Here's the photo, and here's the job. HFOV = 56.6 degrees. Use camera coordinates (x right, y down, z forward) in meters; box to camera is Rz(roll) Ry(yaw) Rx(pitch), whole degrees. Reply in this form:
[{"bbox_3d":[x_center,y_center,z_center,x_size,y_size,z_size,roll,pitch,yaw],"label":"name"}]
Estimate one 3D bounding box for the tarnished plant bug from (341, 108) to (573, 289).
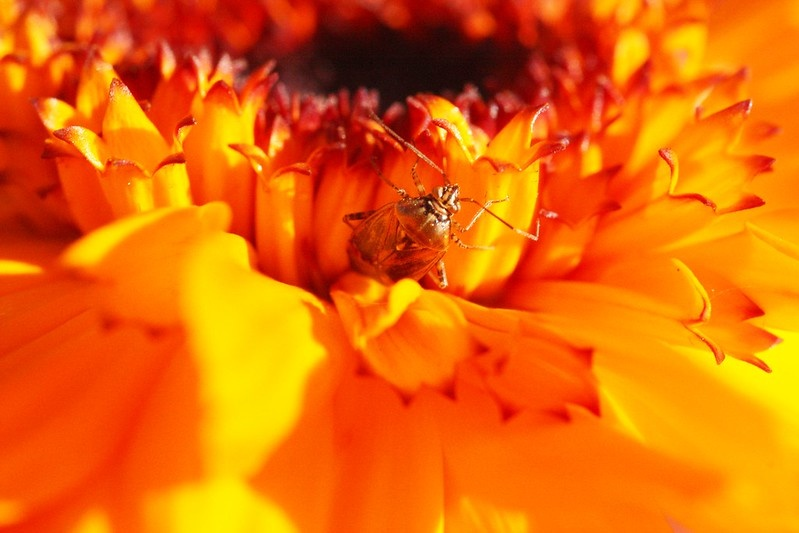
[{"bbox_3d":[0.052,-0.095,0.961,0.221,0.238,0.072,40,17,2],"label":"tarnished plant bug"}]
